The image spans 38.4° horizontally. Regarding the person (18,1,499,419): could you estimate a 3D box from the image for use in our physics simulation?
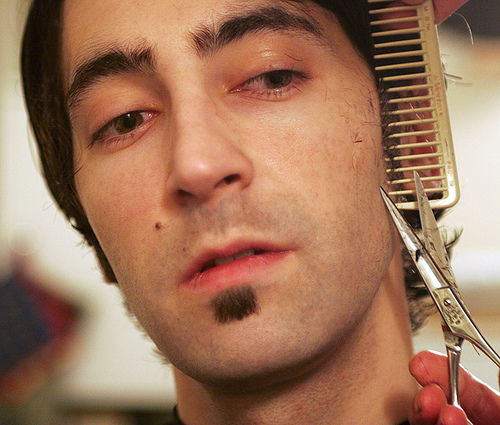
[{"bbox_3d":[-0.076,-0.021,1.816,0.956,0.440,1.253,-15,82,-1],"label":"person"}]
